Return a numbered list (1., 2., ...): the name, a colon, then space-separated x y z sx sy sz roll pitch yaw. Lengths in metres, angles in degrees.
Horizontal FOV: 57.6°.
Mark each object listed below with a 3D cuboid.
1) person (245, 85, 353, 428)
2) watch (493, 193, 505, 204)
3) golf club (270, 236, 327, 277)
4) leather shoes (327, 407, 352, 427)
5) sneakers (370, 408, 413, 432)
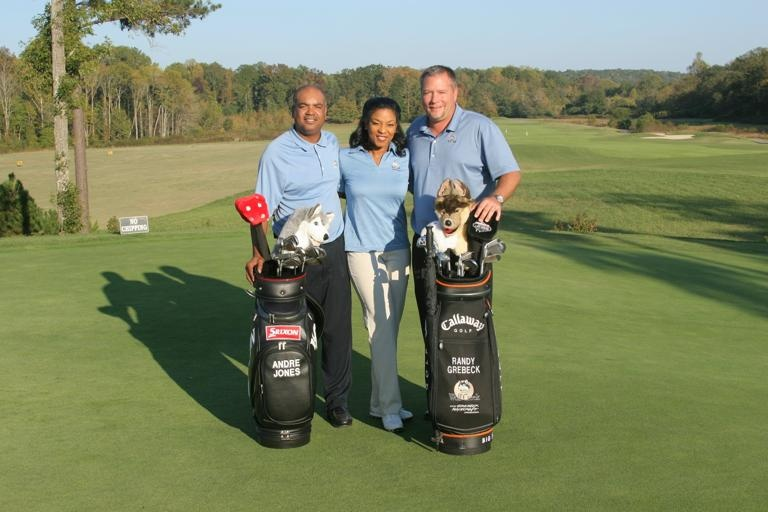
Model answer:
1. person: -0.682 -0.064 7.427 1.185 3.408 0.768 12 17 35
2. watch: 1.137 -0.573 6.953 0.082 0.059 0.095 23 -9 37
3. golf club: -0.846 0.009 6.853 0.473 0.305 0.377 -4 -2 21
4. leather shoes: -0.473 1.649 7.230 0.295 0.171 0.215 3 13 5
5. sneakers: 0.079 1.704 7.272 0.173 0.195 0.454 -1 -7 -34
